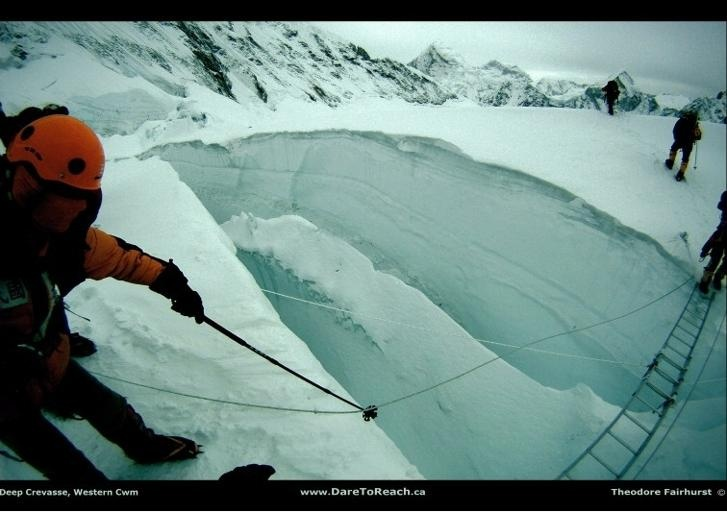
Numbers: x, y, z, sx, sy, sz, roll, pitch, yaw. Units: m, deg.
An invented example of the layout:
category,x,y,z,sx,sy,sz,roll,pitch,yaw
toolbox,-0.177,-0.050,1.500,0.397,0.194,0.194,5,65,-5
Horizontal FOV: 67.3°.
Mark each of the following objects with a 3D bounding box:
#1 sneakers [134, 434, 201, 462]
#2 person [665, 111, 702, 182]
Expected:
category,x,y,z,sx,sy,sz,roll,pitch,yaw
sneakers,-1.939,1.911,5.362,0.529,0.289,0.129,18,39,-29
person,3.695,-1.298,6.338,0.330,0.798,0.268,20,24,22
